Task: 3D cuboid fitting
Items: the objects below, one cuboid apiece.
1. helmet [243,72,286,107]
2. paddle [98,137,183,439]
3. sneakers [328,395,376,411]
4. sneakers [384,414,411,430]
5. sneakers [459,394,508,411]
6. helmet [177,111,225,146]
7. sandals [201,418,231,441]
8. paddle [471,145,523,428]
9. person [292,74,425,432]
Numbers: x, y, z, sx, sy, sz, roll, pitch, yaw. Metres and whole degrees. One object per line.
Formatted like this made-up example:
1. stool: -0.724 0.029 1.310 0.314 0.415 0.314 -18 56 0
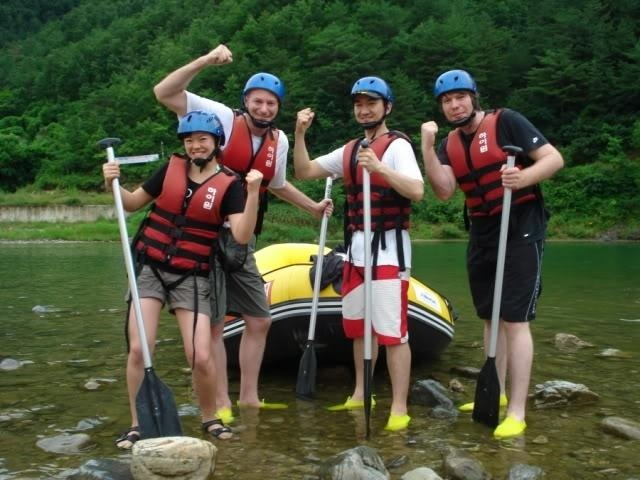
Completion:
1. helmet: -0.486 -1.354 5.980 0.250 0.245 0.326 15 -18 6
2. paddle: -1.331 0.563 5.258 0.396 1.941 0.792 -3 9 -26
3. sneakers: 0.317 1.451 6.073 0.501 0.179 0.158 -1 -10 6
4. sneakers: 0.630 1.524 5.630 0.190 0.069 0.103 5 -26 -26
5. sneakers: 1.461 1.468 6.101 0.514 0.204 0.165 2 -11 -15
6. helmet: -0.980 -0.919 5.550 0.275 0.250 0.319 -1 -41 5
7. sandals: -0.855 1.532 5.460 0.282 0.094 0.112 2 1 44
8. paddle: 1.455 0.378 5.648 0.302 2.311 0.559 3 8 15
9. person: 0.396 0.041 5.938 0.659 2.984 1.288 -6 11 -41
